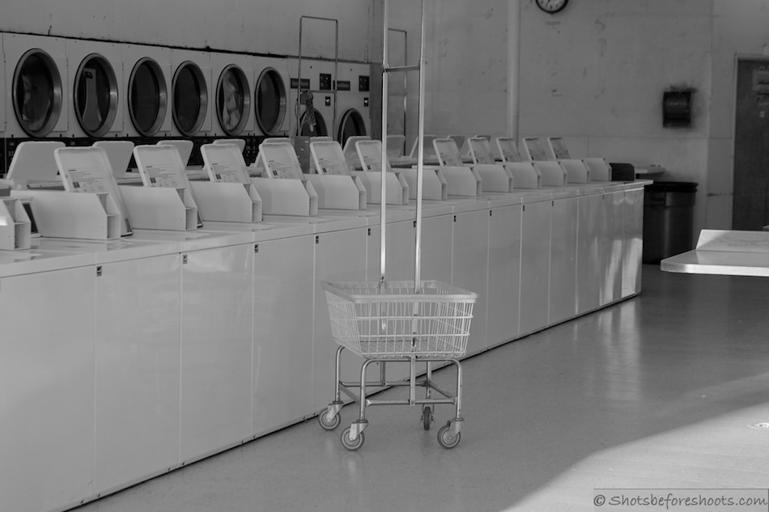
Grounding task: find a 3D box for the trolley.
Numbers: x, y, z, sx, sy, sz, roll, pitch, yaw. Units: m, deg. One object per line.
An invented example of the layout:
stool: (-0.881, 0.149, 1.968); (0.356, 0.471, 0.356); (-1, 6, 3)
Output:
trolley: (0.205, 0.653, 4.155); (0.866, 0.887, 0.931); (-1, -12, 38)
